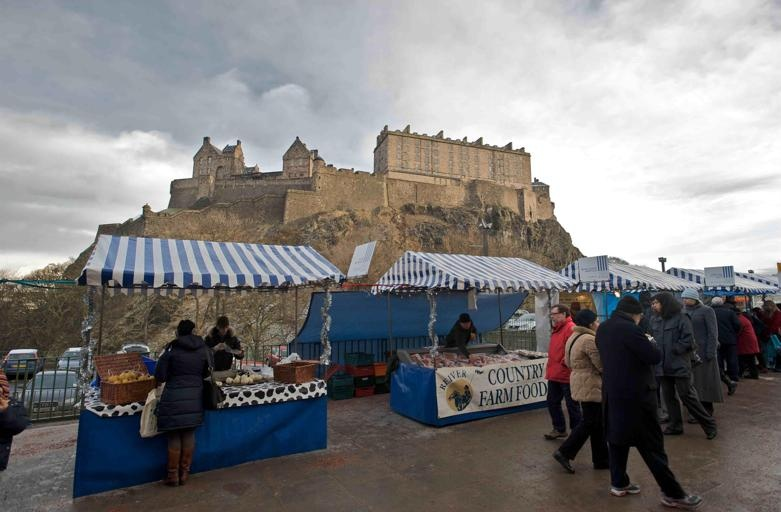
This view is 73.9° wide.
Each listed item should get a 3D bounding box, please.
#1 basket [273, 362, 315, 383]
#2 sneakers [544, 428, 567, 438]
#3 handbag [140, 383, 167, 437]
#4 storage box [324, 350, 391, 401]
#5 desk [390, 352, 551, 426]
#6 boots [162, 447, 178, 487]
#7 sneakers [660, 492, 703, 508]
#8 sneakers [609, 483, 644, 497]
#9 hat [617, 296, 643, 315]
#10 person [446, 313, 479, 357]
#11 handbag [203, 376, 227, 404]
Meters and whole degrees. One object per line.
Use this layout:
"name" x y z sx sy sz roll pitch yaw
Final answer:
"basket" -1.782 2.110 9.400 0.516 0.181 0.400 -1 -4 12
"sneakers" 2.998 3.281 9.599 0.446 0.182 0.164 2 -7 2
"handbag" -3.771 2.467 8.229 0.400 0.856 0.697 2 -18 -8
"storage box" -0.871 3.030 13.055 1.450 0.864 1.411 3 -8 -25
"desk" 1.774 2.805 11.057 2.923 1.183 0.902 -3 4 -18
"boots" -3.515 3.347 8.281 0.255 0.587 0.136 0 4 23
"sneakers" 4.194 3.500 7.519 0.464 0.199 0.229 -4 -12 11
"sneakers" 3.507 3.507 7.762 0.385 0.157 0.172 -5 -8 -7
"hat" 3.547 0.748 7.703 0.313 0.242 0.316 5 -14 15
"person" 1.565 1.736 11.895 0.676 0.981 1.463 -1 4 6
"handbag" -2.946 2.249 8.619 0.244 0.475 0.465 -10 -1 -22
